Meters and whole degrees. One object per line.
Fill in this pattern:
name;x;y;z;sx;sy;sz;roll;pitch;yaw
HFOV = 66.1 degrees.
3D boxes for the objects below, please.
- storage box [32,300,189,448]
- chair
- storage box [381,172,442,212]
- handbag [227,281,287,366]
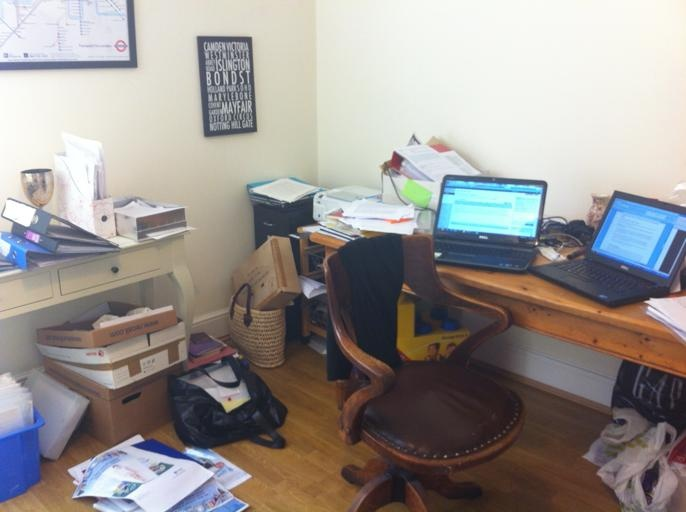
storage box;-1.164;0.451;2.739;0.664;0.588;0.663;21;27;37
chair;0.322;0.472;2.167;0.734;0.977;0.762;-20;32;-28
storage box;0.358;-0.347;2.760;0.202;0.167;0.386;-3;16;-34
handbag;-0.490;0.389;3.028;0.202;0.351;0.364;-22;31;-31
